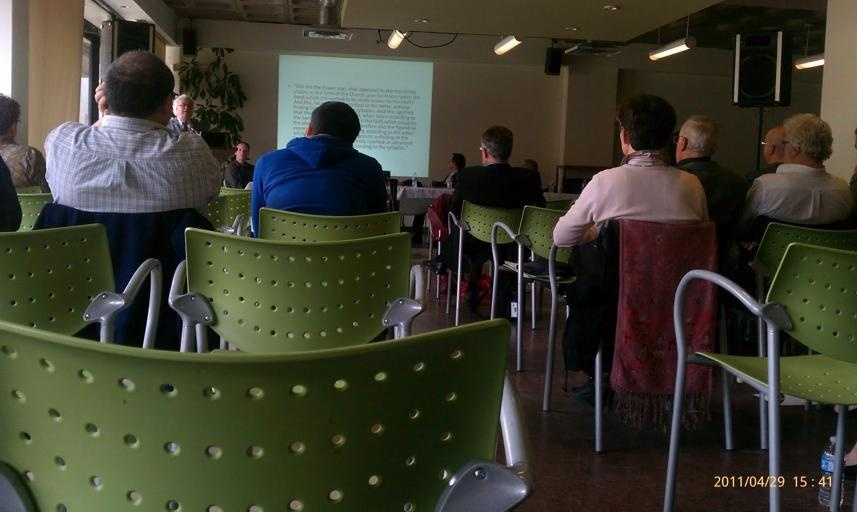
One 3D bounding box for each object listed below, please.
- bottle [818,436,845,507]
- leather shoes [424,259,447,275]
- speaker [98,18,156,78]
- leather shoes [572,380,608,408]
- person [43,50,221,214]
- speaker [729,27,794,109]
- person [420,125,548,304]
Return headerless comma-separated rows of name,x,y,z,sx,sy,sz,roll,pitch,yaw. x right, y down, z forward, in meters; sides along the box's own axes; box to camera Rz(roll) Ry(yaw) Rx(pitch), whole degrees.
bottle,1.771,0.936,3.279,0.106,0.318,0.432,0,-4,29
leather shoes,0.076,0.079,5.645,0.067,0.084,0.206,0,11,-7
speaker,-3.616,-2.614,9.106,0.497,0.872,0.474,2,44,-23
leather shoes,0.872,0.729,3.972,0.086,0.179,0.253,-1,1,-33
person,-1.310,-0.529,3.332,0.748,0.677,0.437,6,15,-2
speaker,3.747,-2.131,8.520,0.562,0.821,0.455,1,-1,17
person,0.432,-0.322,5.677,0.705,1.318,0.856,-6,14,-36
